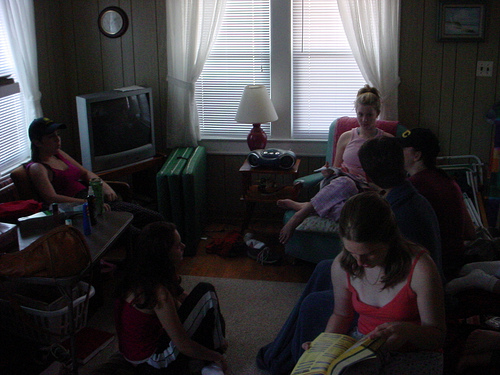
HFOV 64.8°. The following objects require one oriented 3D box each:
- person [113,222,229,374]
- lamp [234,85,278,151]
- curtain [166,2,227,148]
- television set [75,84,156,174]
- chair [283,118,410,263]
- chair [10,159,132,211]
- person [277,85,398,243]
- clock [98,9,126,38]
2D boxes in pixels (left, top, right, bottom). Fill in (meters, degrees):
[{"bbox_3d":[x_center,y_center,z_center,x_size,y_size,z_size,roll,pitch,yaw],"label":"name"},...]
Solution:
[{"bbox_3d":[-0.396,0.650,2.113,0.379,0.989,0.536,11,23,36],"label":"person"},{"bbox_3d":[0.069,-0.667,3.991,0.445,0.674,0.413,-18,37,-26],"label":"lamp"},{"bbox_3d":[-0.596,-1.167,4.127,0.660,1.449,0.272,-7,18,-13],"label":"curtain"},{"bbox_3d":[-1.256,-0.545,3.742,0.413,0.736,0.768,16,25,41],"label":"television set"},{"bbox_3d":[0.829,0.019,3.497,0.855,1.162,1.071,14,21,42],"label":"chair"},{"bbox_3d":[-1.531,-0.125,3.297,0.515,0.613,0.458,2,12,2],"label":"chair"},{"bbox_3d":[0.858,-0.240,3.321,0.788,1.032,1.287,12,20,37],"label":"person"},{"bbox_3d":[-1.440,-1.720,4.175,0.256,0.263,0.261,-1,10,1],"label":"clock"}]
